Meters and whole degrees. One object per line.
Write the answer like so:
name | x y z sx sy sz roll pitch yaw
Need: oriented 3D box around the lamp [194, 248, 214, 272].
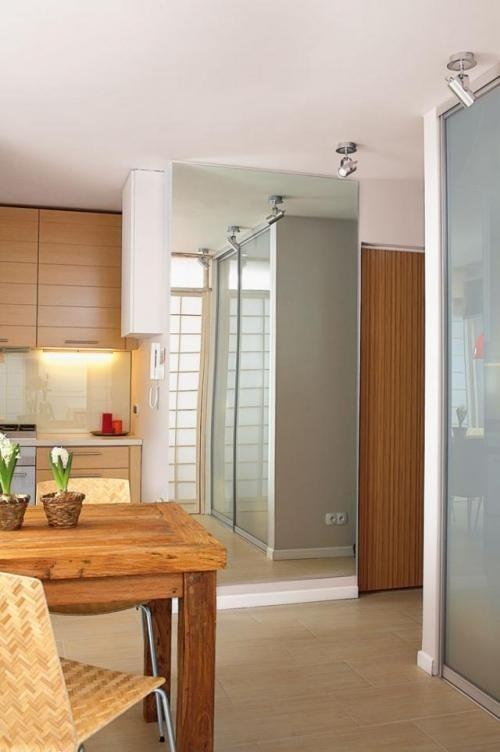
lamp | -0.261 -0.657 3.515 0.102 0.097 0.104 0 -2 3

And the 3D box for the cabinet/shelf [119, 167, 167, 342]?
cabinet/shelf | -0.652 -0.729 3.795 0.258 0.965 0.682 2 -4 -14

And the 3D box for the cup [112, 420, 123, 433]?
cup | -1.011 0.395 4.786 0.084 0.097 0.085 2 -2 0

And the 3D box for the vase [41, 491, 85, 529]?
vase | -0.563 0.408 1.867 0.101 0.073 0.102 0 -8 -5

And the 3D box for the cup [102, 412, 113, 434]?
cup | -1.095 0.374 4.762 0.077 0.156 0.140 2 -4 -13

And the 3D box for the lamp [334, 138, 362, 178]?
lamp | 0.530 -1.133 3.283 0.165 0.218 0.144 -2 -1 32

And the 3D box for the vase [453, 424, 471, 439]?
vase | 0.866 0.233 2.538 0.043 0.052 0.051 0 -2 15

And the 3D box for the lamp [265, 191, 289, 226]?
lamp | 0.152 -0.944 3.548 0.176 0.217 0.123 -4 4 -14

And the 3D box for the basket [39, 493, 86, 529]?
basket | -0.573 0.397 1.866 0.107 0.077 0.108 0 -7 -5

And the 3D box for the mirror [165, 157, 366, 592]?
mirror | 0.103 0.048 3.569 1.183 2.469 0.231 2 -4 -19

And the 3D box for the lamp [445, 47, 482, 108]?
lamp | 0.773 -1.065 2.258 0.114 0.176 0.106 -2 6 20
